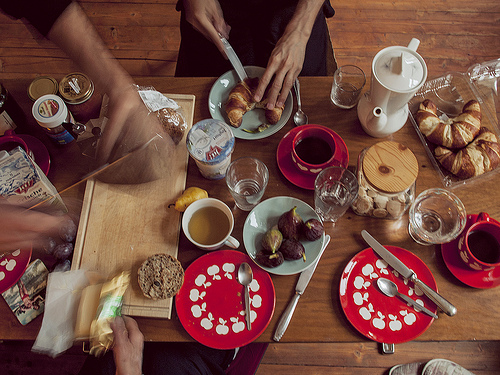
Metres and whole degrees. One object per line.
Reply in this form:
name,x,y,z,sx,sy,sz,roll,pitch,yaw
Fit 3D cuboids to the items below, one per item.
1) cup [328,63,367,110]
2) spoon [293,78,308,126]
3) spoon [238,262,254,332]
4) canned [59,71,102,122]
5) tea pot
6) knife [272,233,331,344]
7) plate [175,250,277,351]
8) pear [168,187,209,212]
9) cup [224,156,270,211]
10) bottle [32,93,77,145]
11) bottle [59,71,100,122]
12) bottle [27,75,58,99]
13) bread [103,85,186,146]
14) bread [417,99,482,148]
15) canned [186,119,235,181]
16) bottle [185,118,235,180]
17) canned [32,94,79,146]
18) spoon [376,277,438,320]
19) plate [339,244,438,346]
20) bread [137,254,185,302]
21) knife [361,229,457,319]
cup,0.380,-0.394,1.582,0.126,0.134,0.196,4,74,8
spoon,0.184,-0.306,1.509,0.058,0.284,0.041,2,67,13
spoon,-0.008,0.359,1.339,0.039,0.026,0.219,1,77,-8
canned,-0.484,-0.268,1.245,0.124,0.143,0.154,-11,103,-2
tea pot,0.489,-0.349,1.423,0.184,0.263,0.266,-6,76,1
knife,0.163,0.339,1.335,0.041,0.028,0.417,26,69,5
plate,-0.083,0.368,1.328,0.309,0.040,0.367,10,104,-6
pear,-0.210,0.035,1.385,0.116,0.059,0.066,-29,42,-10
cup,-0.012,-0.024,1.456,0.149,0.149,0.191,0,74,1
bottle,-0.579,-0.210,1.210,0.105,0.107,0.066,42,82,10
bottle,-0.518,-0.287,1.261,0.132,0.136,0.155,-15,106,-35
bottle,-0.645,-0.309,1.269,0.073,0.019,0.084,-17,73,0
bread,-0.316,-0.277,1.400,0.064,0.144,0.198,-45,61,29
bread,0.721,-0.224,1.475,0.175,0.073,0.204,3,62,7
canned,-0.136,-0.138,1.459,0.151,0.174,0.190,-1,75,-2
bottle,-0.141,-0.141,1.459,0.151,0.174,0.190,-1,75,-2
canned,-0.577,-0.209,1.209,0.104,0.107,0.066,42,82,11
spoon,0.519,0.370,1.335,0.209,0.031,0.048,32,94,27
plate,0.437,0.383,1.334,0.329,0.026,0.240,38,81,9
bread,-0.298,0.287,1.351,0.160,0.040,0.163,-40,110,16
knife,0.534,0.300,1.355,0.046,0.029,0.337,-37,71,2
